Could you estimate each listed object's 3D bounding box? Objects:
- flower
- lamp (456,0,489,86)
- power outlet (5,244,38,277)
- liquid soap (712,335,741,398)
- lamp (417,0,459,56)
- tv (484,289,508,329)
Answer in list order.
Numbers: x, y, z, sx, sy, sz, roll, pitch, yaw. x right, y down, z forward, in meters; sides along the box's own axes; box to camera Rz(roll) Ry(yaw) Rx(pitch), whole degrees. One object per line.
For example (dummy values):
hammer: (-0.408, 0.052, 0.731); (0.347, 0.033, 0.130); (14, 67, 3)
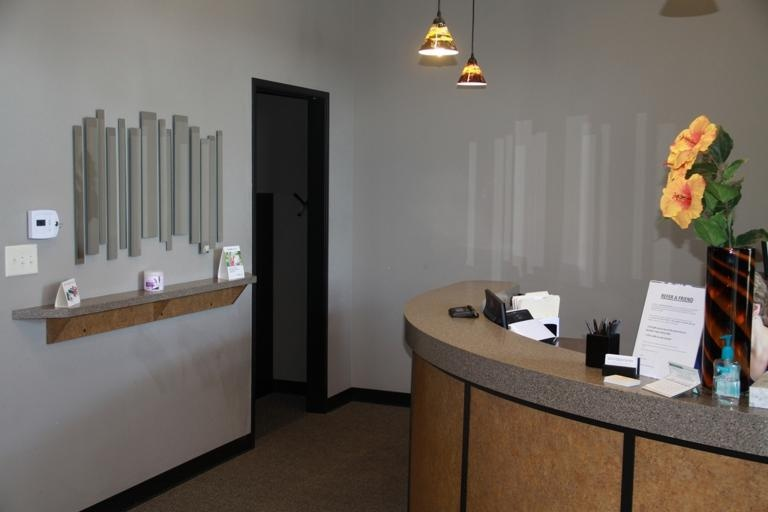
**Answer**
flower: (1.280, -0.281, 2.147); (0.337, 0.498, 0.278); (-1, 11, -17)
lamp: (0.749, -1.776, 4.528); (0.218, 0.826, 1.038); (3, 11, 10)
power outlet: (-2.067, 0.025, 3.153); (0.022, 0.171, 0.166); (-3, -5, 34)
liquid soap: (1.309, 0.419, 2.105); (0.094, 0.222, 0.107); (9, 13, 34)
lamp: (0.360, -1.499, 3.724); (0.222, 0.281, 0.243); (1, 11, -5)
tv: (0.613, 0.307, 3.069); (0.068, 0.183, 0.246); (-6, 15, -11)
